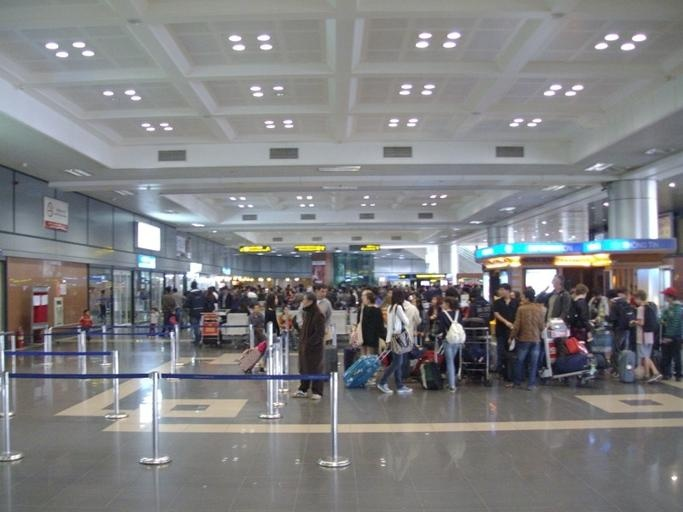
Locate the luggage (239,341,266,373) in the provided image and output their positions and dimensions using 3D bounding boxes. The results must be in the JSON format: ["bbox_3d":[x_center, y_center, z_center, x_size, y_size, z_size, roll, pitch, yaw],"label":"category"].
[{"bbox_3d":[-1.649,1.884,10.048,0.495,0.681,0.711,-1,1,-10],"label":"luggage"}]

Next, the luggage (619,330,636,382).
[{"bbox_3d":[6.035,2.150,11.387,0.353,0.941,0.394,6,-1,-42],"label":"luggage"}]

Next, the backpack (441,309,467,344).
[{"bbox_3d":[2.227,1.427,10.620,0.383,0.655,0.508,0,2,7],"label":"backpack"}]

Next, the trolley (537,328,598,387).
[{"bbox_3d":[4.578,2.140,11.032,1.482,1.240,0.950,-2,-7,23],"label":"trolley"}]

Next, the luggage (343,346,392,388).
[{"bbox_3d":[0.389,2.343,11.096,0.999,0.718,1.184,4,-2,-16],"label":"luggage"}]
